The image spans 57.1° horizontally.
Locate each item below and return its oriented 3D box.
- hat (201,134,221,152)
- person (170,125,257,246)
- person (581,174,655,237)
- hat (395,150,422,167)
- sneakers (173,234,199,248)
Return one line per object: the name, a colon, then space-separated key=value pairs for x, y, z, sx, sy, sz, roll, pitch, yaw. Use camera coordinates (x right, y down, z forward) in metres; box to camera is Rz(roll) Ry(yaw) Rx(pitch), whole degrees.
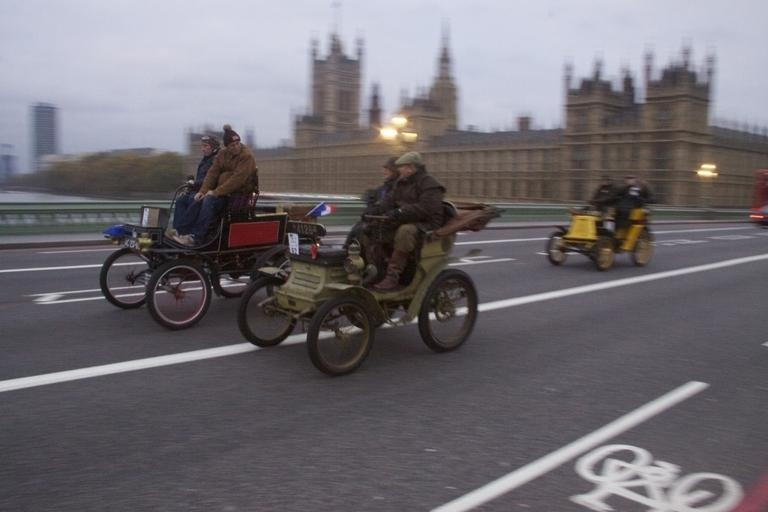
hat: x=-2.748 y=-1.776 z=11.100 sx=0.330 sy=0.243 sz=0.248 roll=10 pitch=-4 yaw=-23
person: x=-2.458 y=-1.027 z=10.167 sx=0.619 sy=1.684 sz=1.243 roll=7 pitch=11 yaw=29
person: x=5.263 y=-1.143 z=15.689 sx=1.259 sy=1.192 sz=0.943 roll=4 pitch=10 yaw=17
hat: x=0.290 y=-1.202 z=8.714 sx=0.316 sy=0.126 sz=0.195 roll=3 pitch=3 yaw=-5
sneakers: x=-2.747 y=-0.204 z=9.748 sx=0.374 sy=0.138 sz=0.121 roll=21 pitch=-13 yaw=-30
